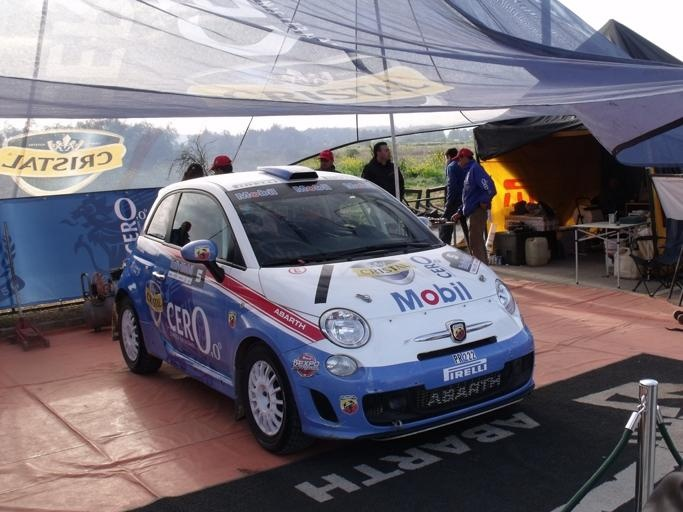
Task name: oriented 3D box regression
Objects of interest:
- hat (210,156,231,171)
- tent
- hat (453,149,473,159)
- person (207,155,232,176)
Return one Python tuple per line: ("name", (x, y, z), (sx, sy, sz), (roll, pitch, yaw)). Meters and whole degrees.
("hat", (-2.234, -1.731, 8.646), (0.273, 0.205, 0.386), (-14, 18, -42))
("tent", (6.210, -3.278, 14.802), (5.975, 5.721, 6.032), (10, 16, 42))
("hat", (2.624, -2.211, 10.112), (0.420, 0.226, 0.289), (1, 9, 26))
("person", (-2.260, -1.679, 8.761), (0.533, 0.412, 0.777), (-7, 14, -15))
